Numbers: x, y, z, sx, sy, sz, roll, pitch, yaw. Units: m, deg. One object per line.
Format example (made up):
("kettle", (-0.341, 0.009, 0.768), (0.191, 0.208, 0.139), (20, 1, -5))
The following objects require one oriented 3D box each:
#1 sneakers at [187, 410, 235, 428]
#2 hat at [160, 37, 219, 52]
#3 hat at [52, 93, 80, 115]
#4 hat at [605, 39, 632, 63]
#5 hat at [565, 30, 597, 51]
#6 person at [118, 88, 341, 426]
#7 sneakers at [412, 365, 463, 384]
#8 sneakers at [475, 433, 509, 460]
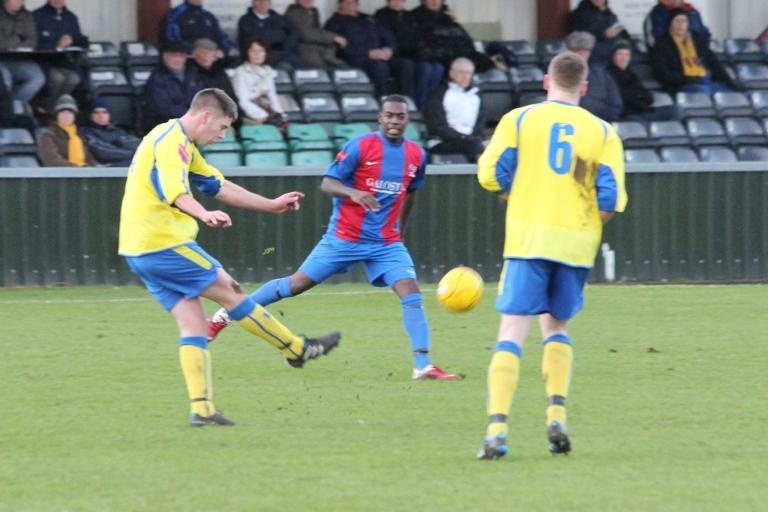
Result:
("sneakers", (-1.757, 1.683, 17.407), (0.512, 0.161, 0.154), (1, -2, -15))
("hat", (-2.825, -3.026, 24.514), (0.561, 0.141, 0.384), (1, -1, 5))
("hat", (-4.360, -2.099, 23.555), (0.306, 0.170, 0.363), (1, -12, -7))
("hat", (3.556, -3.155, 25.901), (0.330, 0.330, 0.394), (2, 0, 0))
("hat", (2.978, -3.276, 25.925), (0.389, 0.178, 0.411), (3, 9, 14))
("person", (-1.805, 0.012, 17.417), (1.717, 3.407, 0.672), (-2, 10, -8))
("sneakers", (0.572, 1.291, 18.597), (0.520, 0.147, 0.183), (1, -4, -2))
("sneakers", (1.050, 1.868, 16.753), (0.284, 0.274, 0.184), (-1, 10, -1))
